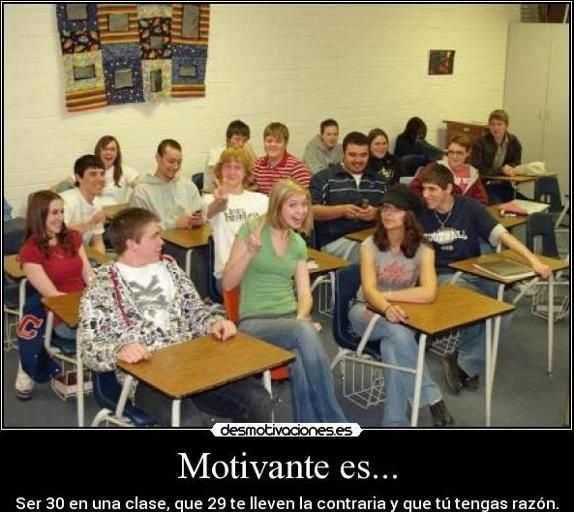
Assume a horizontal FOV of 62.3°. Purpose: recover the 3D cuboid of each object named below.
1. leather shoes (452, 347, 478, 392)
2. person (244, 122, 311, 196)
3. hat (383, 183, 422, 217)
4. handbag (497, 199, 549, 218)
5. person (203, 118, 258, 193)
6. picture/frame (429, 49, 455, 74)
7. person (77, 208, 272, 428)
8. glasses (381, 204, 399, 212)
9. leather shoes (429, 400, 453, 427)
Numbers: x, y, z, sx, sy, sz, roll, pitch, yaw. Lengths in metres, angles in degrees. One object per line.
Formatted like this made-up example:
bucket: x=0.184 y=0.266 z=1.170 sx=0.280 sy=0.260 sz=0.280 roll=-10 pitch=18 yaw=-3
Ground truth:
leather shoes: x=1.215 y=0.782 z=3.240 sx=0.099 sy=0.207 sz=0.283 roll=-2 pitch=61 yaw=0
person: x=-0.111 y=-1.027 z=5.199 sx=1.015 sy=0.784 sz=0.500 roll=12 pitch=13 yaw=32
hat: x=0.727 y=-0.342 z=2.964 sx=0.160 sy=0.111 sz=0.223 roll=24 pitch=2 yaw=41
handbag: x=2.274 y=-0.473 z=4.589 sx=0.313 sy=0.082 sz=0.318 roll=14 pitch=22 yaw=42
person: x=-0.663 y=-1.110 z=5.903 sx=0.685 sy=1.082 sz=0.619 roll=-9 pitch=23 yaw=-38
picture/frame: x=2.544 y=-3.242 z=7.849 sx=0.446 sy=0.308 sz=0.058 roll=-12 pitch=23 yaw=-28
person: x=-0.524 y=0.246 z=2.542 sx=1.070 sy=1.260 sz=0.820 roll=-1 pitch=5 yaw=30
glasses: x=0.629 y=-0.300 z=2.886 sx=0.112 sy=0.048 sz=0.067 roll=-2 pitch=18 yaw=-34
leather shoes: x=0.881 y=0.908 z=2.744 sx=0.106 sy=0.043 sz=0.157 roll=5 pitch=43 yaw=-23
